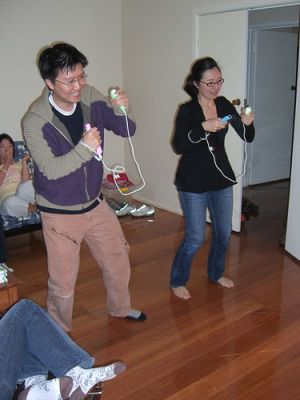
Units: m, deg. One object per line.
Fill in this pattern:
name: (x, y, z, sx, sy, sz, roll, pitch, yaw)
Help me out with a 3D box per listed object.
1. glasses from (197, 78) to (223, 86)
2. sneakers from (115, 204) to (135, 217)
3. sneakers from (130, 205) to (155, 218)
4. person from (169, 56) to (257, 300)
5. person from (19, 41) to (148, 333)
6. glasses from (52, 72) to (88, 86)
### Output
glasses: (0.343, -0.637, 1.733, 0.137, 0.050, 0.074, -2, 12, -7)
sneakers: (-0.303, 0.120, 3.954, 0.299, 0.121, 0.107, -24, 36, -34)
sneakers: (-0.092, 0.138, 3.858, 0.275, 0.121, 0.131, -4, 17, -11)
person: (0.359, -0.078, 1.991, 0.517, 1.519, 0.534, 7, 14, 35)
person: (-0.318, 0.076, 1.512, 0.455, 1.434, 0.630, 1, 12, 11)
glasses: (-0.282, -0.441, 1.178, 0.086, 0.024, 0.086, 15, 41, 38)
